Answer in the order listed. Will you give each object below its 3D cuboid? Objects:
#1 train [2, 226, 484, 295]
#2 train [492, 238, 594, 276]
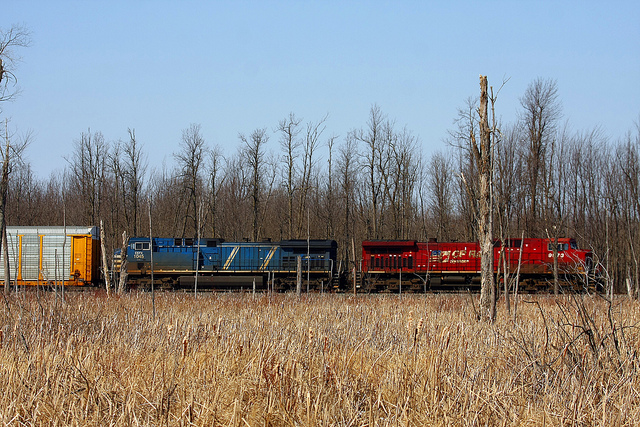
[{"bbox_3d":[-4.015,2.552,44.258,16.301,2.893,2.965,1,-4,1],"label":"train"},{"bbox_3d":[10.326,2.034,39.001,4.243,1.945,1.819,0,1,5],"label":"train"}]
